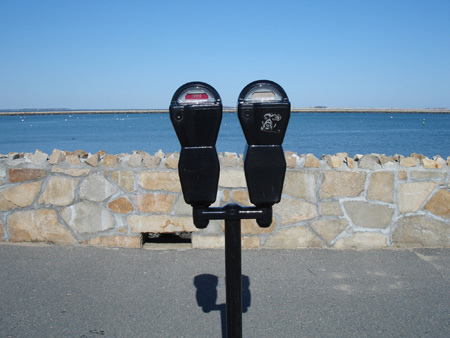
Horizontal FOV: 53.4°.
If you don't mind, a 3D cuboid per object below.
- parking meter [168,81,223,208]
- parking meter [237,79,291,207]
[{"bbox_3d":[-0.200,-0.204,3.315,0.410,1.022,0.406,-5,27,-6],"label":"parking meter"},{"bbox_3d":[0.273,-0.170,3.186,0.369,0.899,0.198,0,7,5],"label":"parking meter"}]
